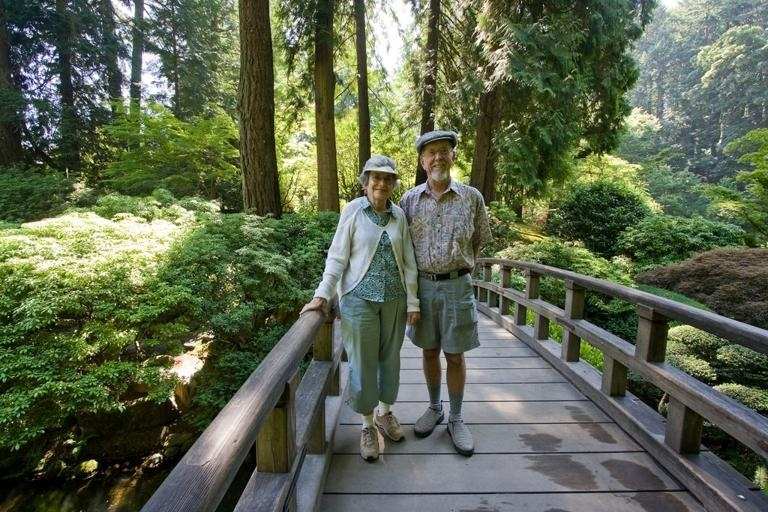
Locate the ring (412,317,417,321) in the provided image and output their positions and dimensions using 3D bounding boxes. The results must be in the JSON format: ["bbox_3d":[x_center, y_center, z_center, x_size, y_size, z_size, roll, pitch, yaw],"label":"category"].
[{"bbox_3d":[0.282,0.587,3.936,0.038,0.036,0.039,-2,0,0],"label":"ring"}]

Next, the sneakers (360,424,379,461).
[{"bbox_3d":[-0.135,1.732,3.875,0.123,0.141,0.357,0,-3,0],"label":"sneakers"}]

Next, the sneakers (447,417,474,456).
[{"bbox_3d":[0.720,1.696,3.973,0.150,0.137,0.375,-1,10,-7],"label":"sneakers"}]

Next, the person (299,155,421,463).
[{"bbox_3d":[-0.141,0.477,3.896,0.914,2.717,0.575,-14,19,-41],"label":"person"}]

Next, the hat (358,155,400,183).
[{"bbox_3d":[-0.044,-0.826,3.927,0.258,0.149,0.287,0,-5,1],"label":"hat"}]

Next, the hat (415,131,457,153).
[{"bbox_3d":[0.494,-1.090,4.016,0.368,0.195,0.264,0,14,4],"label":"hat"}]

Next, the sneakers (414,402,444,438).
[{"bbox_3d":[0.471,1.592,4.174,0.156,0.169,0.435,-1,12,44],"label":"sneakers"}]
